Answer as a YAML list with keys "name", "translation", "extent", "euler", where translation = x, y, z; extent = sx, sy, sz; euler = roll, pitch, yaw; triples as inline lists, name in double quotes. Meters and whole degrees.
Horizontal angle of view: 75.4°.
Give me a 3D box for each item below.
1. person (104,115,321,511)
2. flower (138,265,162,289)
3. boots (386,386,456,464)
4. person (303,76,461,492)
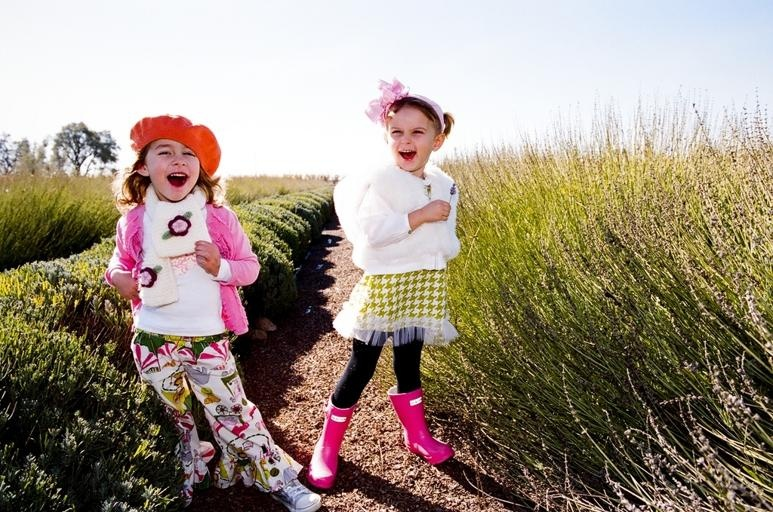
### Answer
- name: "person"
  translation: [-1.023, 0.359, 2.771]
  extent: [0.960, 2.221, 0.360]
  euler: [-4, 6, -11]
- name: "flower"
  translation: [-1.213, 0.108, 2.577]
  extent: [0.107, 0.104, 0.026]
  euler: [-4, 7, -11]
- name: "boots"
  translation: [0.227, 1.066, 3.170]
  extent: [0.189, 0.432, 0.391]
  euler: [-13, 4, -42]
- name: "person"
  translation: [0.000, 0.161, 3.035]
  extent: [0.908, 2.363, 0.433]
  euler: [-2, 6, 3]
